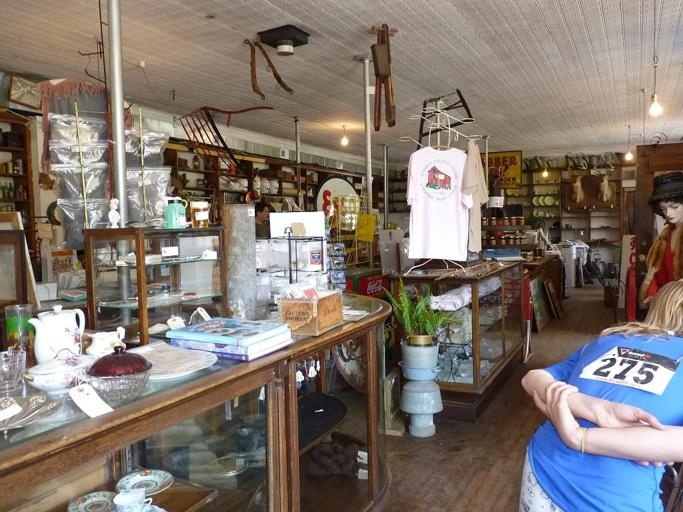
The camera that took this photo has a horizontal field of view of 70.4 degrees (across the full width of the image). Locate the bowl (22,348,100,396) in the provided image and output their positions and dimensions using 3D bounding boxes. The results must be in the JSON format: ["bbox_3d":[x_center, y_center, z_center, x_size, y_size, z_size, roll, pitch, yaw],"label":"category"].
[{"bbox_3d":[-0.933,0.350,1.597,0.110,0.083,0.196,0,3,31],"label":"bowl"}]

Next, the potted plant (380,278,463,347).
[{"bbox_3d":[0.702,0.489,4.182,0.583,0.572,0.515,0,6,11],"label":"potted plant"}]

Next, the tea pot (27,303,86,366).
[{"bbox_3d":[-1.104,0.310,1.886,0.176,0.237,0.250,0,3,21],"label":"tea pot"}]

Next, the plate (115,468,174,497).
[{"bbox_3d":[-0.757,0.877,1.879,0.126,0.018,0.125,2,13,-12],"label":"plate"}]

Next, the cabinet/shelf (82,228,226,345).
[{"bbox_3d":[-0.912,0.143,2.331,0.321,0.910,0.517,2,3,28],"label":"cabinet/shelf"}]

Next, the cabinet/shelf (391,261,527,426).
[{"bbox_3d":[1.390,0.746,5.183,0.721,1.286,2.101,-1,2,30],"label":"cabinet/shelf"}]

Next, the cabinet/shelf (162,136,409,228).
[{"bbox_3d":[-0.114,-1.471,11.808,3.159,1.925,9.396,1,6,20],"label":"cabinet/shelf"}]

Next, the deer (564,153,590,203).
[{"bbox_3d":[6.389,-2.093,13.124,0.613,1.336,0.364,0,6,16],"label":"deer"}]

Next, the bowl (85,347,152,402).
[{"bbox_3d":[-0.733,0.383,1.607,0.203,0.176,0.204,1,3,0],"label":"bowl"}]

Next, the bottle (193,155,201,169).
[{"bbox_3d":[-2.583,-1.673,8.674,0.170,0.262,0.197,-4,6,-27],"label":"bottle"}]

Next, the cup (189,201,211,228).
[{"bbox_3d":[-0.754,-0.224,2.582,0.098,0.136,0.262,-3,6,-16],"label":"cup"}]

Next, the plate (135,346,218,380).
[{"bbox_3d":[-0.624,0.387,1.809,0.252,0.036,0.234,16,16,37],"label":"plate"}]

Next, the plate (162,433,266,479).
[{"bbox_3d":[-0.494,0.825,1.974,0.220,0.057,0.239,-1,-2,16],"label":"plate"}]

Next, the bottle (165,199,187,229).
[{"bbox_3d":[-0.857,-0.224,2.512,0.105,0.158,0.300,-3,6,-19],"label":"bottle"}]
